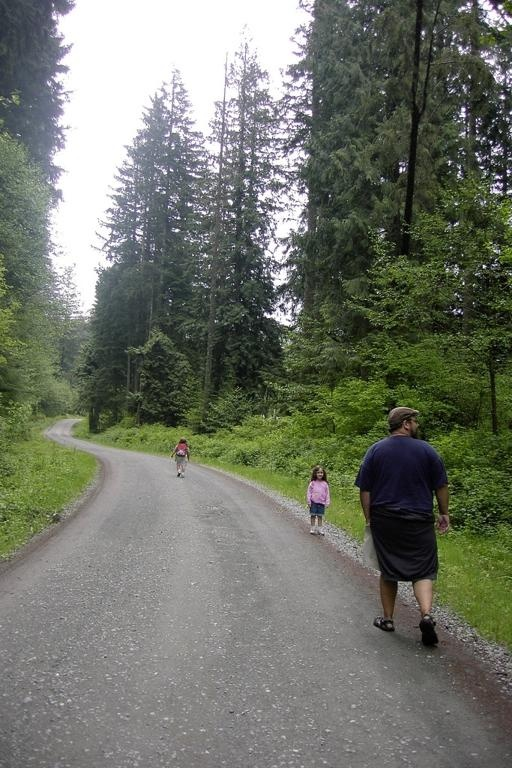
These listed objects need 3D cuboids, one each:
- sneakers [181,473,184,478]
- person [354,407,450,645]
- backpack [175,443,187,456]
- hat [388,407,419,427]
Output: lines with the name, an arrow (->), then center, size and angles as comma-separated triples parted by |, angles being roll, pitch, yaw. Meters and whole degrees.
sneakers -> -2.057, 2.547, 17.295 | 0.092, 0.117, 0.064 | 9, 18, -46
person -> 1.199, 1.116, 5.078 | 0.705, 1.847, 0.398 | 0, -2, 40
backpack -> -2.120, 1.848, 17.532 | 0.257, 0.374, 0.204 | 21, -53, -18
hat -> 1.251, 0.275, 5.256 | 0.218, 0.125, 0.163 | -26, 8, -19
